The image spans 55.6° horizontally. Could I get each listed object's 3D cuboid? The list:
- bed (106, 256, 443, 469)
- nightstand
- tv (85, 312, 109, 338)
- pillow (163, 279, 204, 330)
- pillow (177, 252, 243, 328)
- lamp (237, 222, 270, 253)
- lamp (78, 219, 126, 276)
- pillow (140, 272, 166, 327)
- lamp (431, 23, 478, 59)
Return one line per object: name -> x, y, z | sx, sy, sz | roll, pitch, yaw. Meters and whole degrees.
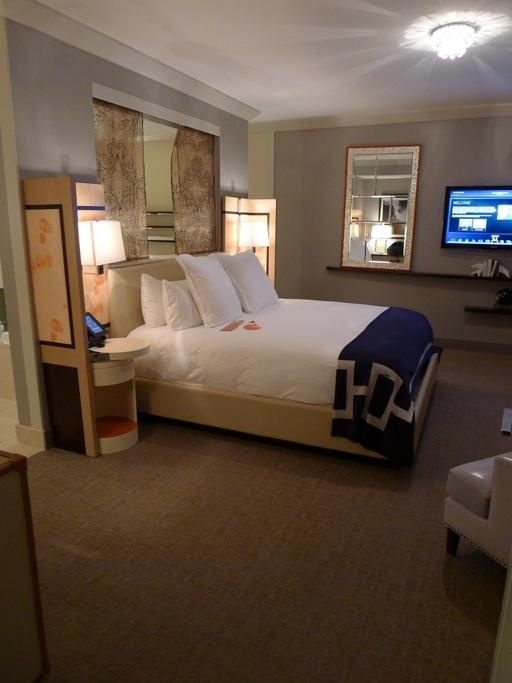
bed -> 0.198, -0.058, 3.975 | 2.337, 1.187, 1.880 | 6, 13, 26
nightstand -> -0.904, 0.353, 3.171 | 0.391, 0.575, 0.530 | 6, 17, 12
tv -> -1.027, -0.097, 3.128 | 0.041, 0.180, 0.126 | -29, -10, 25
pillow -> -0.562, -0.275, 3.755 | 0.163, 0.353, 0.487 | -1, 0, 14
pillow -> -0.449, -0.357, 3.836 | 0.160, 0.546, 0.594 | -26, -15, 26
lamp -> -0.021, -1.247, 5.737 | 0.374, 0.523, 0.373 | -2, 24, 0
lamp -> -0.957, -0.635, 3.146 | 0.277, 0.346, 0.369 | 6, 22, 21
pillow -> -0.788, -0.304, 3.709 | 0.124, 0.356, 0.356 | -2, 8, 15
lamp -> 1.218, -1.902, 3.060 | 0.191, 0.076, 0.206 | -9, 31, -1
